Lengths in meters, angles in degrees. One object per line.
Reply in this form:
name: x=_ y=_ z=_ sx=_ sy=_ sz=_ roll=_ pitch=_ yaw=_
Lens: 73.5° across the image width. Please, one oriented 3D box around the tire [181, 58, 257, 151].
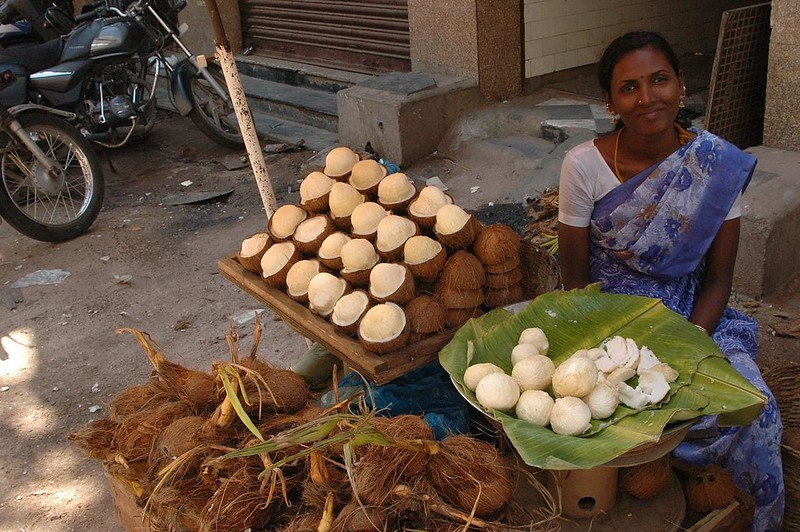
tire: x=-2.519 y=-2.240 z=7.374 sx=0.946 sy=1.100 sz=0.937 roll=-37 pitch=25 yaw=-21
